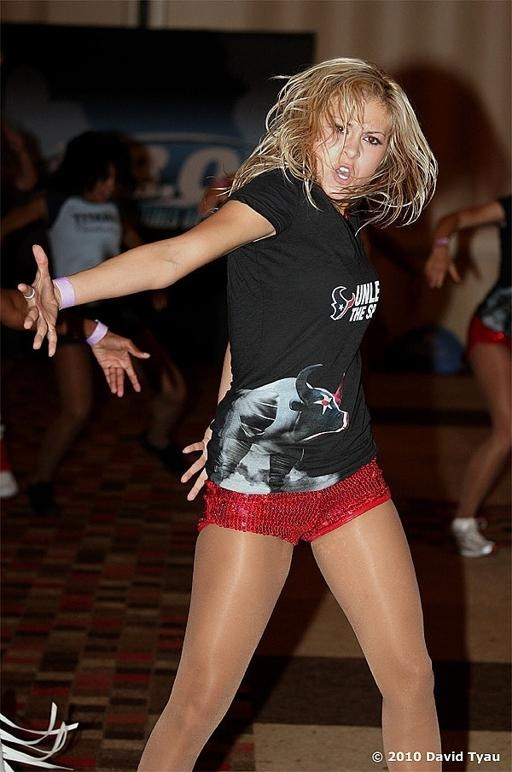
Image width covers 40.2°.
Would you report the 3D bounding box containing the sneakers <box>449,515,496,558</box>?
[{"bbox_3d":[0.824,0.585,2.678,0.134,0.163,0.068,-8,16,19],"label":"sneakers"}]
